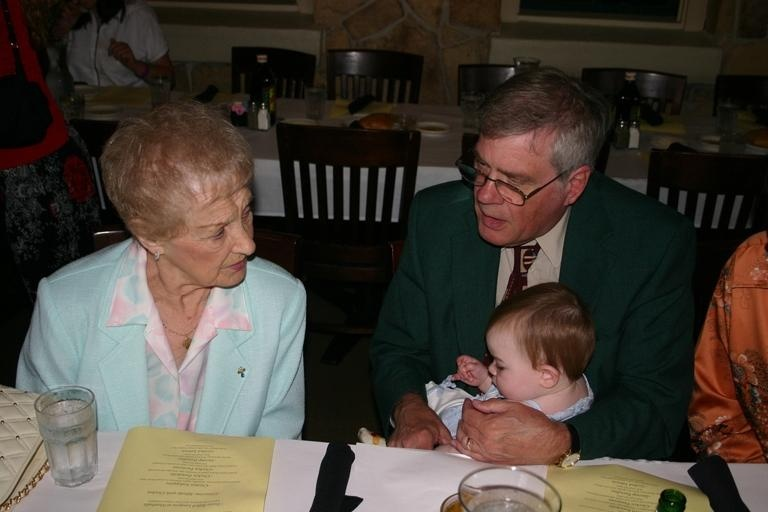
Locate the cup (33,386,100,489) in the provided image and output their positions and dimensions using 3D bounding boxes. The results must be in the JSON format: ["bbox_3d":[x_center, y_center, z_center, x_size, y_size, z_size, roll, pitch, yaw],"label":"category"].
[{"bbox_3d":[-0.940,0.539,1.856,0.157,0.243,0.190,-7,15,-31],"label":"cup"}]

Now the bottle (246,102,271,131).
[{"bbox_3d":[-0.764,-0.848,3.808,0.105,0.200,0.107,3,31,-2],"label":"bottle"}]

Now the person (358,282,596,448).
[{"bbox_3d":[0.355,0.351,2.442,0.846,0.612,0.492,-3,34,6],"label":"person"}]

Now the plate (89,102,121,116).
[{"bbox_3d":[-1.760,-0.920,3.914,0.127,0.017,0.125,-1,32,-11],"label":"plate"}]

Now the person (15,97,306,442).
[{"bbox_3d":[-0.830,0.239,2.321,1.004,1.513,0.833,5,23,-11],"label":"person"}]

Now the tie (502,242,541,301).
[{"bbox_3d":[0.529,0.089,2.430,0.113,0.286,0.042,4,-17,17],"label":"tie"}]
